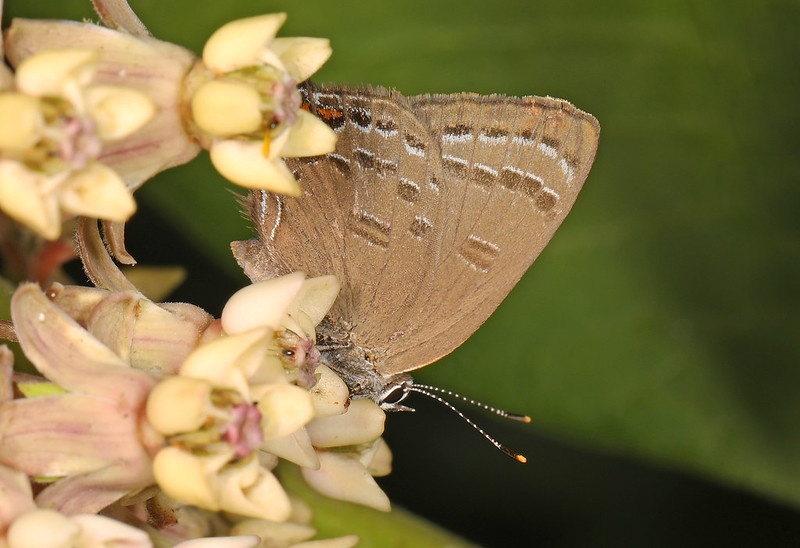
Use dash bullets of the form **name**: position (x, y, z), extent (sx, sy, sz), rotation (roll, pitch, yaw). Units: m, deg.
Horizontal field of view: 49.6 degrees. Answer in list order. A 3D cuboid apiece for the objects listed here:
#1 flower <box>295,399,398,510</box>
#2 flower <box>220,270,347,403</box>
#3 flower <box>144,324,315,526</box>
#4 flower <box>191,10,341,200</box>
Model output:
- **flower**: position (-0.073, 0.250, 1.224), extent (0.064, 0.150, 0.145), rotation (-30, -1, -1)
- **flower**: position (-0.137, 0.075, 1.062), extent (0.070, 0.141, 0.141), rotation (1, 20, 25)
- **flower**: position (-0.181, 0.159, 0.932), extent (0.179, 0.190, 0.101), rotation (5, 21, -16)
- **flower**: position (-0.158, -0.204, 1.001), extent (0.170, 0.190, 0.136), rotation (12, 20, 2)
